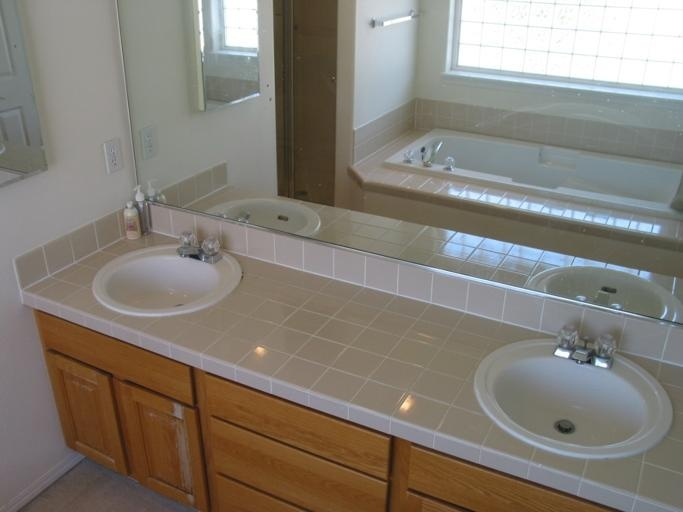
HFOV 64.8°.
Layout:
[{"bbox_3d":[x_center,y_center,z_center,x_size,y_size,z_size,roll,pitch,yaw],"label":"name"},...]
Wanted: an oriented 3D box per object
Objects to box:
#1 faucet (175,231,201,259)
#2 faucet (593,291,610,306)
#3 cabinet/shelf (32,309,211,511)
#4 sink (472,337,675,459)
[{"bbox_3d":[-0.676,-0.051,2.388,0.095,0.132,0.131,-8,33,-31],"label":"faucet"},{"bbox_3d":[0.907,0.152,1.879,0.047,0.050,0.088,8,0,24],"label":"faucet"},{"bbox_3d":[-0.892,0.612,2.189,0.684,0.690,0.342,13,35,19],"label":"cabinet/shelf"},{"bbox_3d":[0.714,0.485,1.714,0.580,0.193,0.437,10,27,16],"label":"sink"}]
